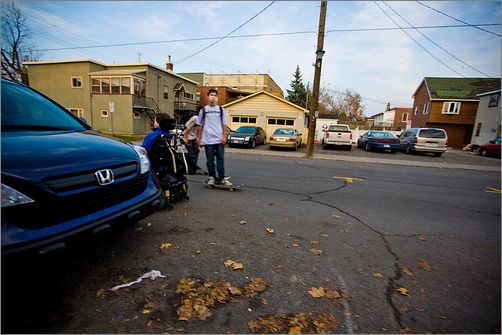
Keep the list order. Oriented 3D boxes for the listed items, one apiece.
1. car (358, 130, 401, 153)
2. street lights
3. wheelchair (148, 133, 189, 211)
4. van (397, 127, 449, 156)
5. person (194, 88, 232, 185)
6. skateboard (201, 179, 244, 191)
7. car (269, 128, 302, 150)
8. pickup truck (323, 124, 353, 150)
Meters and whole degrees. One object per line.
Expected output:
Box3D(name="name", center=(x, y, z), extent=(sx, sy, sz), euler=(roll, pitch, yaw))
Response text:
Box3D(name="car", center=(7.829, -1.617, 20.393), extent=(1.265, 0.739, 2.600), euler=(0, 11, 5))
Box3D(name="street lights", center=(2.956, -2.860, 15.245), extent=(0.376, 4.851, 0.812), euler=(5, 9, 9))
Box3D(name="wheelchair", center=(-1.720, 0.019, 6.357), extent=(0.897, 1.260, 0.873), euler=(10, 13, 29))
Box3D(name="van", center=(10.077, -1.502, 19.176), extent=(1.546, 1.546, 2.601), euler=(4, 9, 8))
Box3D(name="person", center=(-0.801, -0.632, 7.236), extent=(0.763, 2.112, 0.434), euler=(3, 9, -4))
Box3D(name="skateboard", center=(-0.653, 0.447, 7.461), extent=(0.957, 0.151, 0.286), euler=(3, 10, 12))
Box3D(name="car", center=(2.121, -1.663, 19.765), extent=(1.418, 1.278, 2.006), euler=(6, 9, 19))
Box3D(name="pickup truck", center=(5.549, -1.912, 21.063), extent=(1.570, 1.603, 2.067), euler=(4, 9, 7))
